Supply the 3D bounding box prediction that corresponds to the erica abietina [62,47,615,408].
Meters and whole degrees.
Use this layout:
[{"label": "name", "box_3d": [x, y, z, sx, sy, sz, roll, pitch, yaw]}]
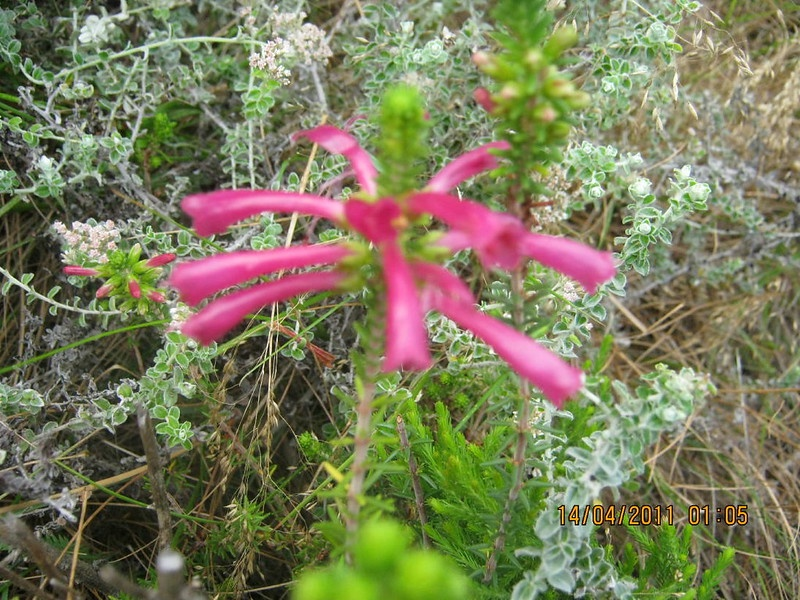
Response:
[{"label": "erica abietina", "box_3d": [-0.022, -0.168, 2.373, 1.464, 0.998, 0.897, 21, 37, 6]}]
